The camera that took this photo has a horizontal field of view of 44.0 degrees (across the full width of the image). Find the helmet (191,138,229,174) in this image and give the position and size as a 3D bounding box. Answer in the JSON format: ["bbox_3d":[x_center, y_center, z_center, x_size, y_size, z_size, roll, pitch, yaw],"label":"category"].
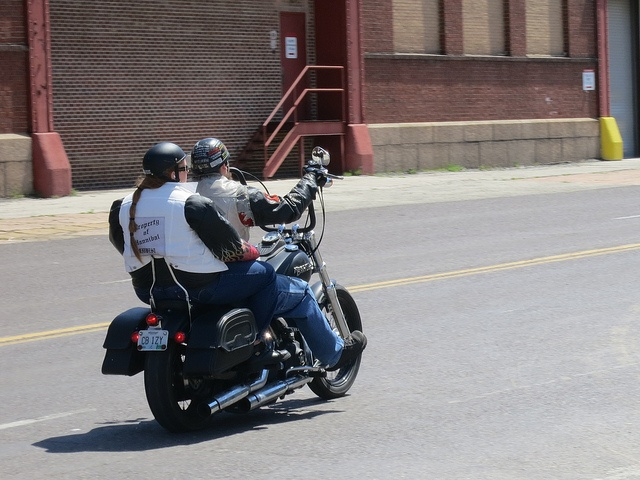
[{"bbox_3d":[-0.822,-0.624,5.705,0.293,0.204,0.312,-2,15,2],"label":"helmet"}]

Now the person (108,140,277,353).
[{"bbox_3d":[-0.852,-0.005,5.323,1.088,1.314,0.388,-3,3,-10],"label":"person"}]
